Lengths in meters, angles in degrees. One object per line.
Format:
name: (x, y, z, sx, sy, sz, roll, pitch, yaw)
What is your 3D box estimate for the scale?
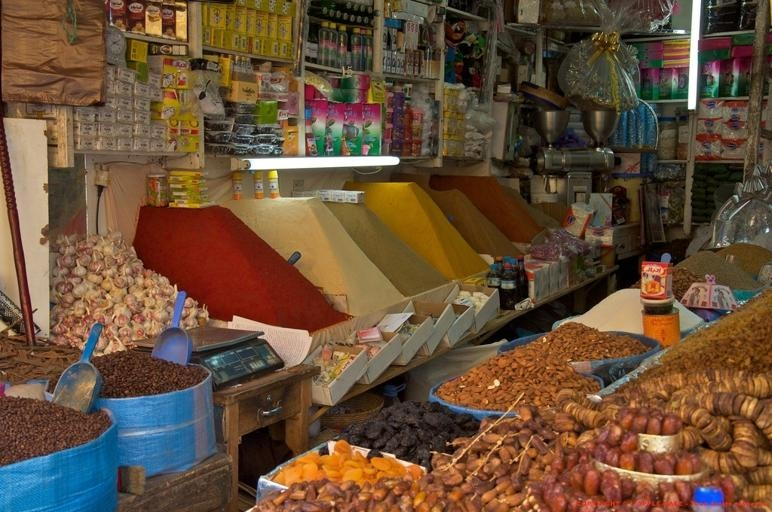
scale: (-0.823, 0.440, 2.635, 0.580, 0.151, 0.568, 10, 5, 38)

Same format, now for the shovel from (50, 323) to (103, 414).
shovel: (-1.031, 0.401, 2.036, 0.167, 0.298, 0.053, 12, -7, 32)

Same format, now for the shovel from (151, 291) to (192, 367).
shovel: (-0.841, 0.296, 2.322, 0.162, 0.295, 0.053, 10, 4, 17)

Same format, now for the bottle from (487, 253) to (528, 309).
bottle: (0.938, 0.206, 4.421, 0.442, 0.461, 0.259, -3, 6, -4)

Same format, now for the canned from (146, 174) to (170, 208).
canned: (-1.367, -0.397, 3.535, 0.183, 0.281, 0.189, -3, 9, -21)
